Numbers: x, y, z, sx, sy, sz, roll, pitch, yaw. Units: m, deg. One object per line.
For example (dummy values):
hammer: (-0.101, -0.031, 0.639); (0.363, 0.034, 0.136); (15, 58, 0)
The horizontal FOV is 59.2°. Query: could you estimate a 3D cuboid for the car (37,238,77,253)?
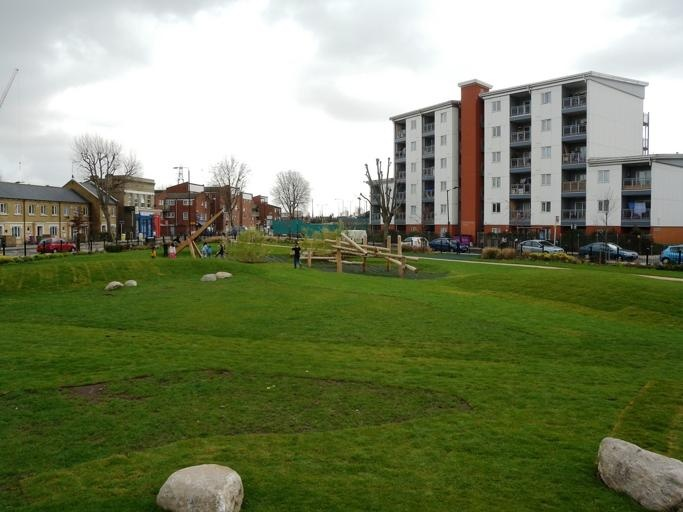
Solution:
car: (-25.470, -0.920, 53.355); (2.423, 1.091, 1.430); (-6, 8, -37)
